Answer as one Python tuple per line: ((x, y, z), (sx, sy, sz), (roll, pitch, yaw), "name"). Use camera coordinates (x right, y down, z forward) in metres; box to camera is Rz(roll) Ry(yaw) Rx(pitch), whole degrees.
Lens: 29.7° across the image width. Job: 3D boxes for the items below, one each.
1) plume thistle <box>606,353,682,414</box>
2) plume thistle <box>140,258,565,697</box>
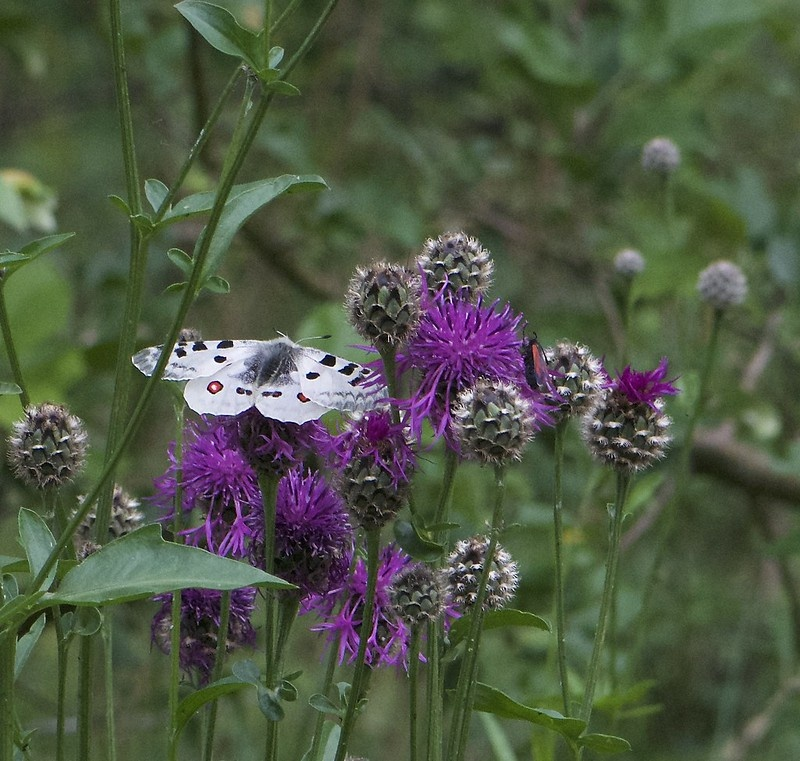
((0.262, 0.009, 1.589), (0.059, 0.060, 0.031), (8, -59, 20), "plume thistle")
((-0.056, 0.042, 1.651), (0.390, 0.396, 0.247), (31, -31, 18), "plume thistle")
